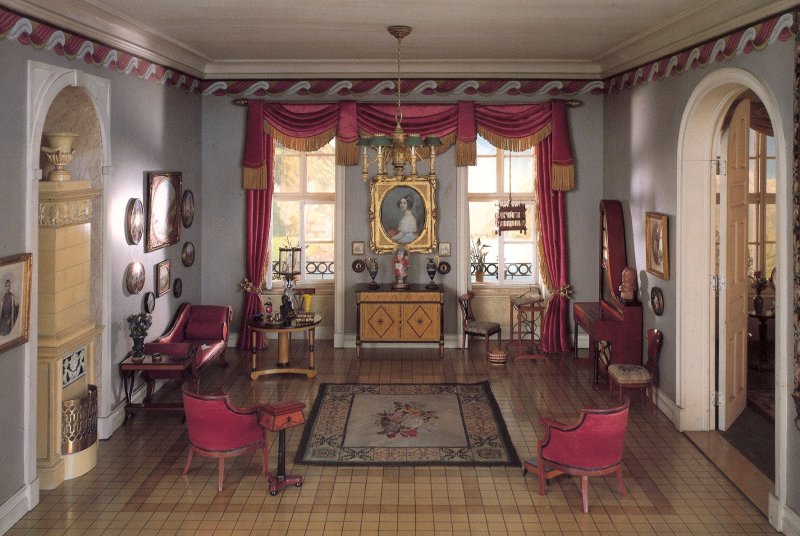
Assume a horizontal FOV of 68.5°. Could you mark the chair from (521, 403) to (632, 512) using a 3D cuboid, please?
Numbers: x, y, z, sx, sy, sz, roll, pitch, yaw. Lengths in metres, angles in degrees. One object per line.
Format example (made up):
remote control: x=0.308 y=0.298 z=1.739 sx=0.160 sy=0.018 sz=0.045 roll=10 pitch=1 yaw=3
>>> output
chair: x=2.016 y=2.066 z=6.756 sx=1.109 sy=1.145 sz=1.115 roll=-1 pitch=-1 yaw=18

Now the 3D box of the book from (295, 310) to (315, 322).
book: x=-1.566 y=0.799 z=9.794 sx=0.273 sy=0.179 sz=0.161 roll=0 pitch=2 yaw=-7

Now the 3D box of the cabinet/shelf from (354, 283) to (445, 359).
cabinet/shelf: x=0.000 y=0.924 z=10.945 sx=1.621 sy=1.210 sz=0.798 roll=0 pitch=7 yaw=-2

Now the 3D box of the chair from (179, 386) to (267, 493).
chair: x=-2.104 y=1.915 z=6.965 sx=0.833 sy=1.072 sz=0.843 roll=6 pitch=6 yaw=44

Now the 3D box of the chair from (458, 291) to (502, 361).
chair: x=1.451 y=1.004 z=10.763 sx=0.696 sy=1.028 sz=0.550 roll=3 pitch=7 yaw=42

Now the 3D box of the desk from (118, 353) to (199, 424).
desk: x=-3.583 y=1.708 z=8.665 sx=1.036 sy=1.033 sz=1.438 roll=2 pitch=-12 yaw=-20

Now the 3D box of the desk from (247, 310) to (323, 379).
desk: x=-1.997 y=1.166 z=10.272 sx=1.171 sy=1.039 sz=1.623 roll=-3 pitch=13 yaw=-10

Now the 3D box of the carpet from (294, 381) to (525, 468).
carpet: x=0.090 y=2.152 z=8.022 sx=2.763 sy=0.056 sz=1.945 roll=0 pitch=14 yaw=1

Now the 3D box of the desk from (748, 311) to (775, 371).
desk: x=6.113 y=1.114 z=9.994 sx=0.331 sy=0.810 sz=0.778 roll=7 pitch=15 yaw=32

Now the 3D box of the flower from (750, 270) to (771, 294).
flower: x=6.349 y=0.246 z=10.362 sx=0.346 sy=0.393 sz=0.373 roll=0 pitch=-7 yaw=2

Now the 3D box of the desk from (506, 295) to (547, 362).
desk: x=2.458 y=1.120 z=11.003 sx=0.574 sy=1.088 sz=1.182 roll=0 pitch=-2 yaw=15

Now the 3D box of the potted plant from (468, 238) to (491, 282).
potted plant: x=1.589 y=-0.164 z=11.605 sx=0.495 sy=0.839 sz=0.466 roll=-4 pitch=2 yaw=-35

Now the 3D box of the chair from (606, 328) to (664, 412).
chair: x=3.403 y=1.438 z=8.606 sx=0.719 sy=1.162 sz=0.797 roll=0 pitch=13 yaw=2
